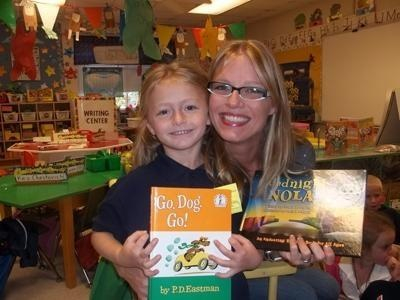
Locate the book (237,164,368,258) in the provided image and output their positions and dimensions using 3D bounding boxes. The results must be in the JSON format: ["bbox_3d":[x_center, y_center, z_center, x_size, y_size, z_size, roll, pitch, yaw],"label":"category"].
[{"bbox_3d":[0.423,0.242,1.233,0.500,0.317,0.200,0,11,5],"label":"book"}]

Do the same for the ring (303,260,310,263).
[{"bbox_3d":[0.437,0.456,1.215,0.025,0.006,0.025,-2,-9,0],"label":"ring"}]
